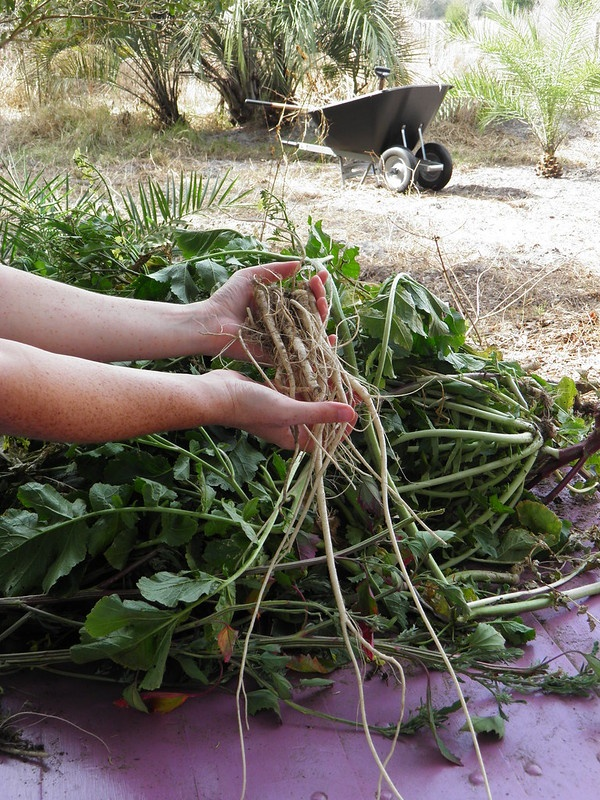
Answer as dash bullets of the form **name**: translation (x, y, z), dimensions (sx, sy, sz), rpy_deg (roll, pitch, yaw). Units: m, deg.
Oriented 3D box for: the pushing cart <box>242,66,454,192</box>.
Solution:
- **pushing cart**: translation (0.589, -1.932, 5.273), dimensions (1.080, 0.839, 0.800), rpy_deg (7, 25, 7)
